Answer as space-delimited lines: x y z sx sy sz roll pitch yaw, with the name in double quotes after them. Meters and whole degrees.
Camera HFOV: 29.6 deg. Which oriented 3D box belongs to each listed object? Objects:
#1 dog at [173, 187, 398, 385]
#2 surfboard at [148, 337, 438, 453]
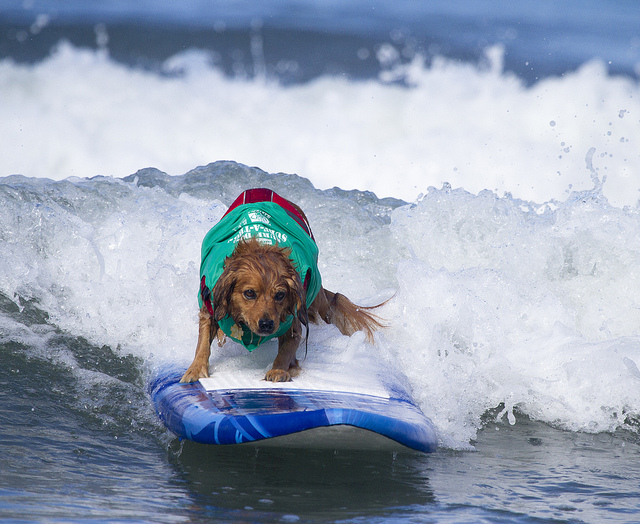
-0.164 0.239 11.655 1.848 1.537 2.853 14 19 22 "dog"
-0.231 1.195 10.650 2.422 0.672 1.402 0 14 -3 "surfboard"
